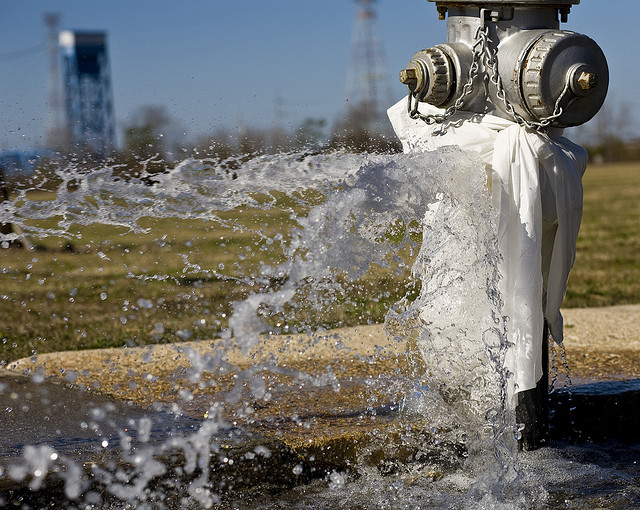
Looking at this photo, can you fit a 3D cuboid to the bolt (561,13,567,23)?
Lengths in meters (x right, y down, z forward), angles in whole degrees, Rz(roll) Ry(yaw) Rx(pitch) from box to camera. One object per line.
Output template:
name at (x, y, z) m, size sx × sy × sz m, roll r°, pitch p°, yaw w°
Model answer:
bolt at (1.660, -1.634, 9.720) m, size 0.051 × 0.081 × 0.047 m, roll 1°, pitch -12°, yaw -1°
